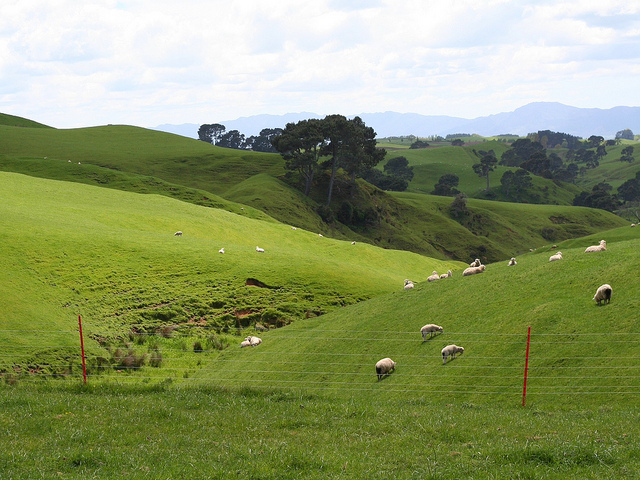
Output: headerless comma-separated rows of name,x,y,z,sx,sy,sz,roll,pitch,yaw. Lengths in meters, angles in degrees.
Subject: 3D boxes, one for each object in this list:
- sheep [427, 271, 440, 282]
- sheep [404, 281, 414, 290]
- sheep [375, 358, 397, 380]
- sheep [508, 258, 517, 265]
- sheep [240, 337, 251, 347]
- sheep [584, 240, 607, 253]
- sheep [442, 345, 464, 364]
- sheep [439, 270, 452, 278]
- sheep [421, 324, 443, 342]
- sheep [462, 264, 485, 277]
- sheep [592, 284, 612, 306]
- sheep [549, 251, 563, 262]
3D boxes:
sheep,9.224,3.050,61.050,0.616,0.672,1.533,5,16,33
sheep,7.011,3.690,58.487,0.334,0.455,1.023,10,17,37
sheep,3.566,7.228,41.530,0.703,0.947,1.224,10,13,41
sheep,14.144,1.618,55.021,0.521,0.238,0.622,0,-8,-1
sheep,-5.495,7.559,54.199,0.682,0.493,1.069,-1,9,-14
sheep,18.757,0.479,50.733,1.375,0.784,1.889,5,10,25
sheep,7.262,6.310,41.155,1.321,0.793,0.470,-4,12,-26
sheep,10.160,2.835,60.305,1.309,0.741,0.513,-3,9,-27
sheep,6.550,5.512,44.037,1.205,0.901,0.670,1,10,-1
sheep,11.306,2.286,55.056,2.047,0.848,0.679,-6,7,-14
sheep,15.090,2.969,39.895,0.797,1.053,0.634,4,11,18
sheep,16.317,1.172,51.366,1.016,0.497,0.533,-23,15,-39
